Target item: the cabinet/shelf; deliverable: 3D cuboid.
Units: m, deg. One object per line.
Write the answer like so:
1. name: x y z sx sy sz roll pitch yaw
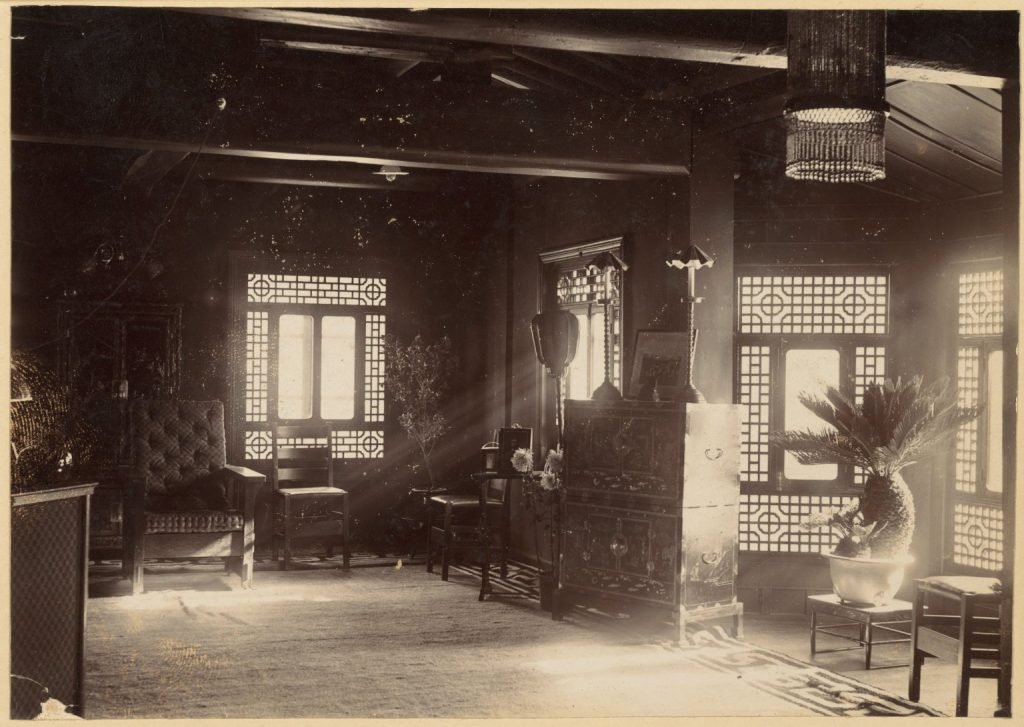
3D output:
1. cabinet/shelf: 0.955 1.038 8.510 1.164 1.544 0.442 1 -3 10

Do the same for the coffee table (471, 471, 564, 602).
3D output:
1. coffee table: 0.033 1.372 9.911 0.796 1.068 0.880 1 -9 0

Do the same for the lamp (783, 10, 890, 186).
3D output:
1. lamp: 1.739 -1.458 6.795 0.511 0.925 0.201 1 -3 9

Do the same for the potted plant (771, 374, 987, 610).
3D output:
1. potted plant: 2.412 0.902 8.660 1.505 1.547 1.401 0 -14 12

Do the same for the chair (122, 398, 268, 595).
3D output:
1. chair: -2.446 0.996 9.684 1.004 1.430 0.788 3 -4 -18

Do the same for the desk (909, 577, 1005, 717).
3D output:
1. desk: 2.672 1.659 7.655 0.511 0.765 1.275 1 -4 19

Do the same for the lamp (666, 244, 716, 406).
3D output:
1. lamp: 1.208 -0.275 8.696 0.339 1.118 0.603 2 -3 8

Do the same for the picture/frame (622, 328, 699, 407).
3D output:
1. picture/frame: 1.046 0.036 8.725 0.550 0.700 0.074 -1 -18 33
